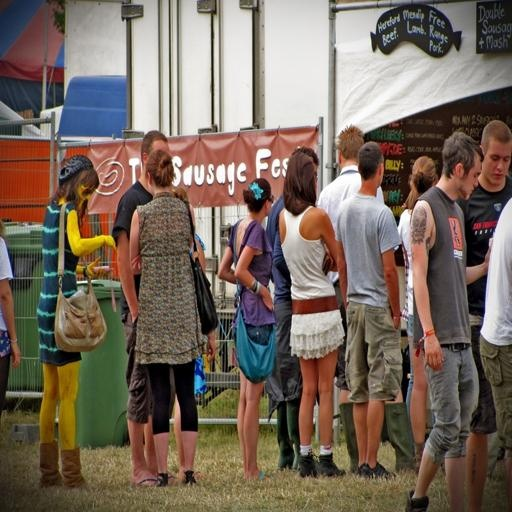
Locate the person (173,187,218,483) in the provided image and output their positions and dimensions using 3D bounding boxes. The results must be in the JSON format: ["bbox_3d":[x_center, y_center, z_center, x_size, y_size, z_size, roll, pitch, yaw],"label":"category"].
[{"bbox_3d":[-0.482,0.853,8.629,0.263,2.669,0.284,-3,7,-15],"label":"person"}]

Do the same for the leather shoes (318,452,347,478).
[{"bbox_3d":[0.588,1.599,8.672,0.248,0.252,0.099,0,-1,-31],"label":"leather shoes"}]

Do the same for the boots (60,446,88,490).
[{"bbox_3d":[-1.372,1.578,8.465,0.134,0.377,0.246,-1,4,9],"label":"boots"}]

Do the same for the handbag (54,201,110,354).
[{"bbox_3d":[-1.313,0.173,8.462,0.395,1.099,0.283,0,-2,-22],"label":"handbag"}]

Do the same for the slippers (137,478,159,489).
[{"bbox_3d":[-0.817,1.708,8.536,0.134,0.087,0.059,2,-11,4],"label":"slippers"}]

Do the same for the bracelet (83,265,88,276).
[{"bbox_3d":[-1.320,0.127,8.774,0.016,0.075,0.045,3,7,5],"label":"bracelet"}]

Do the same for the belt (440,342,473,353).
[{"bbox_3d":[1.308,0.603,7.434,0.218,0.058,0.054,0,-2,-27],"label":"belt"}]

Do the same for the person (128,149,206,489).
[{"bbox_3d":[-0.652,0.470,8.257,0.525,2.437,0.345,0,-2,-10],"label":"person"}]

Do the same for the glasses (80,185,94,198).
[{"bbox_3d":[-1.296,-0.456,8.694,0.080,0.082,0.122,2,-23,-19],"label":"glasses"}]
